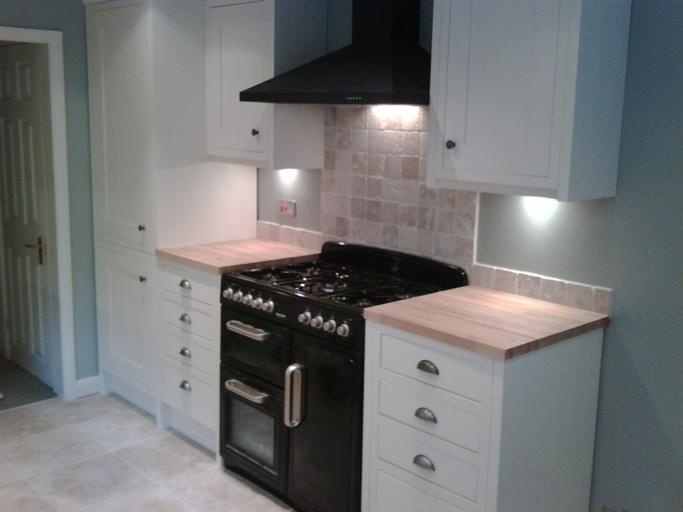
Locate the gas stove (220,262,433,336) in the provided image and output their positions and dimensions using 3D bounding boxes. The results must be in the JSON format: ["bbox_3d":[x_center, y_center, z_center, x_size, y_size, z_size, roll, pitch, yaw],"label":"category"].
[{"bbox_3d":[-0.082,0.213,3.136,1.035,0.200,0.679,13,18,39],"label":"gas stove"}]
